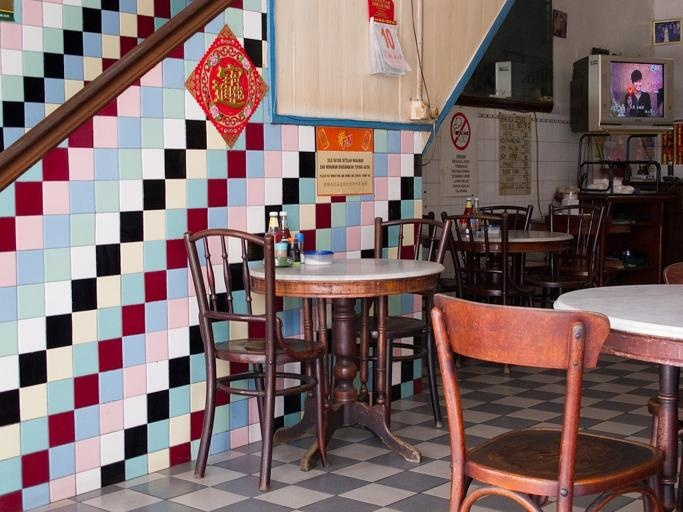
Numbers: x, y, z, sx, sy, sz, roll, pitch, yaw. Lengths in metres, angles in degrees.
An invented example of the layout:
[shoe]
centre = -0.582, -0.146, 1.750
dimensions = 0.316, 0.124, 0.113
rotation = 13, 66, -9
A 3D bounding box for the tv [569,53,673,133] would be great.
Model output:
[tv]
centre = 3.371, -1.905, 7.648
dimensions = 1.104, 0.898, 0.634
rotation = -3, 7, -19

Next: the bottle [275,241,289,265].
[bottle]
centre = -0.323, -0.010, 3.381
dimensions = 0.094, 0.118, 0.098
rotation = 0, 2, 0

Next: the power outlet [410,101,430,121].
[power outlet]
centre = 0.530, -0.997, 4.329
dimensions = 0.118, 0.121, 0.061
rotation = -6, 8, -38
